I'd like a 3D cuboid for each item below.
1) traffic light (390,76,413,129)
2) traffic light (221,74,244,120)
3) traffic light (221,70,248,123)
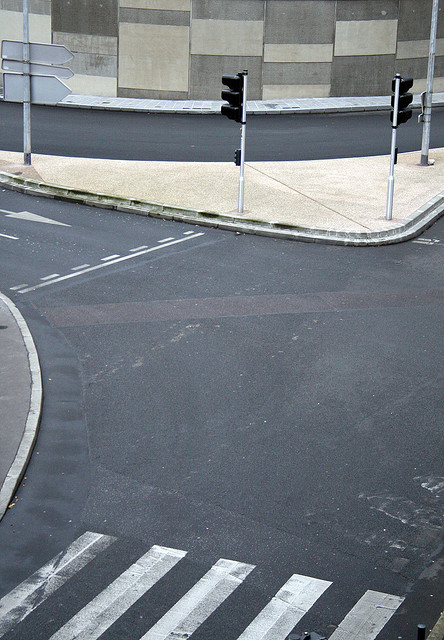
[{"bbox_3d":[3.072,-3.707,18.240,0.342,0.853,0.173,-4,37,0],"label":"traffic light"},{"bbox_3d":[0.164,-3.812,18.394,0.367,0.760,0.739,4,12,0],"label":"traffic light"},{"bbox_3d":[0.195,-3.817,18.379,0.430,0.874,0.860,3,12,-2],"label":"traffic light"}]
